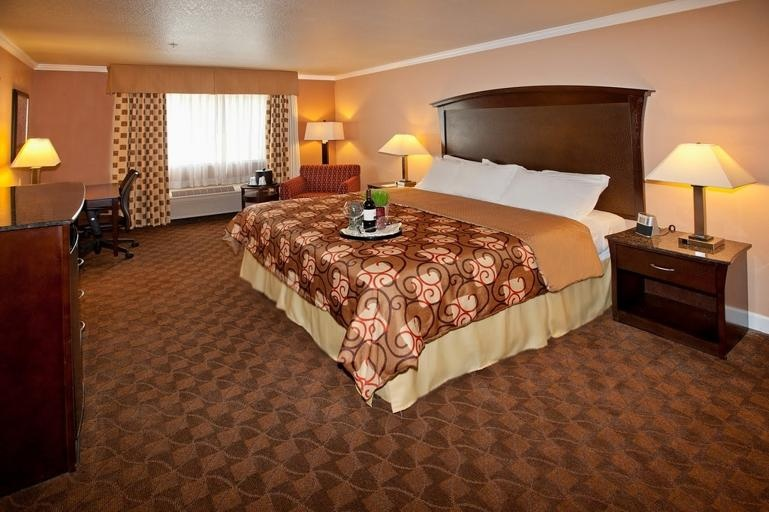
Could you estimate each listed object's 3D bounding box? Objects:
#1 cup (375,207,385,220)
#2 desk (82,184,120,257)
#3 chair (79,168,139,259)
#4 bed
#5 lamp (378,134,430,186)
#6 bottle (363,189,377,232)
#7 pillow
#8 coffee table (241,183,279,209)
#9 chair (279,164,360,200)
[{"bbox_3d":[-0.045,-0.392,4.447,0.087,0.097,0.092,1,11,0],"label":"cup"},{"bbox_3d":[-3.855,-0.475,6.655,0.393,0.869,1.280,-9,18,-29],"label":"desk"},{"bbox_3d":[-3.859,-0.577,6.655,1.065,1.199,1.160,-2,14,-25],"label":"chair"},{"bbox_3d":[0.715,-0.424,4.755,3.377,2.469,2.150,-11,19,-32],"label":"bed"},{"bbox_3d":[0.304,-1.424,7.176,0.599,0.681,0.568,-8,5,8],"label":"lamp"},{"bbox_3d":[-0.132,-0.425,4.440,0.125,0.325,0.340,-1,16,0],"label":"bottle"},{"bbox_3d":[1.466,-0.736,5.196,0.406,0.309,1.657,-25,22,-37],"label":"pillow"},{"bbox_3d":[-2.191,-1.096,8.485,0.561,0.707,0.678,-3,8,-21],"label":"coffee table"},{"bbox_3d":[-1.013,-1.329,8.325,1.032,1.017,0.811,4,9,10],"label":"chair"}]
